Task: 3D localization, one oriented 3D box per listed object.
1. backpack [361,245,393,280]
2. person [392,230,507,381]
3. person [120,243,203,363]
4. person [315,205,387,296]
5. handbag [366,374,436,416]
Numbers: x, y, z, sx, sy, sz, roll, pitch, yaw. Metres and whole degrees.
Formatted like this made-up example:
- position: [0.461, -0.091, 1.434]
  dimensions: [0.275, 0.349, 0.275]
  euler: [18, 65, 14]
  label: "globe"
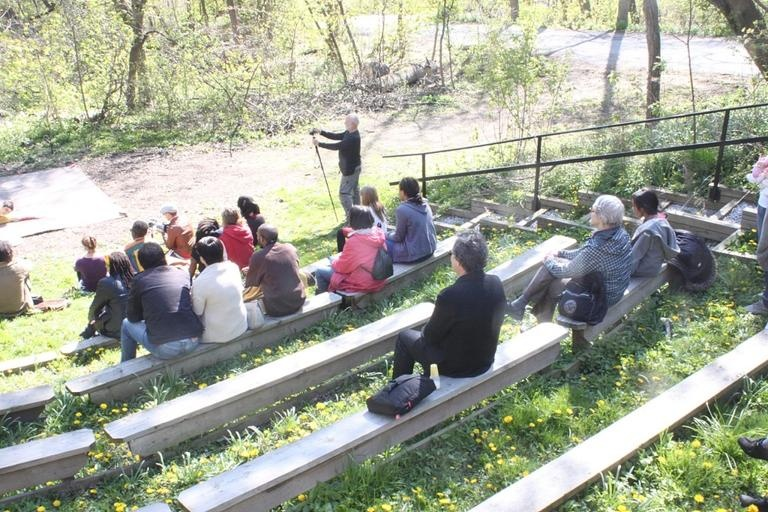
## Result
- position: [-0.046, 0.081, 7.961]
  dimensions: [0.283, 0.528, 0.416]
  euler: [10, 19, 42]
  label: "backpack"
- position: [0.671, 0.585, 6.491]
  dimensions: [0.843, 1.955, 1.210]
  euler: [-20, 34, -33]
  label: "person"
- position: [-2.621, 0.613, 6.905]
  dimensions: [0.786, 1.480, 1.082]
  euler: [-14, 48, -40]
  label: "person"
- position: [-0.461, -0.031, 8.422]
  dimensions: [1.035, 1.354, 0.719]
  euler: [33, 44, 31]
  label: "person"
- position: [0.158, 1.251, 5.589]
  dimensions: [0.515, 0.182, 0.373]
  euler: [-24, 22, -32]
  label: "handbag"
